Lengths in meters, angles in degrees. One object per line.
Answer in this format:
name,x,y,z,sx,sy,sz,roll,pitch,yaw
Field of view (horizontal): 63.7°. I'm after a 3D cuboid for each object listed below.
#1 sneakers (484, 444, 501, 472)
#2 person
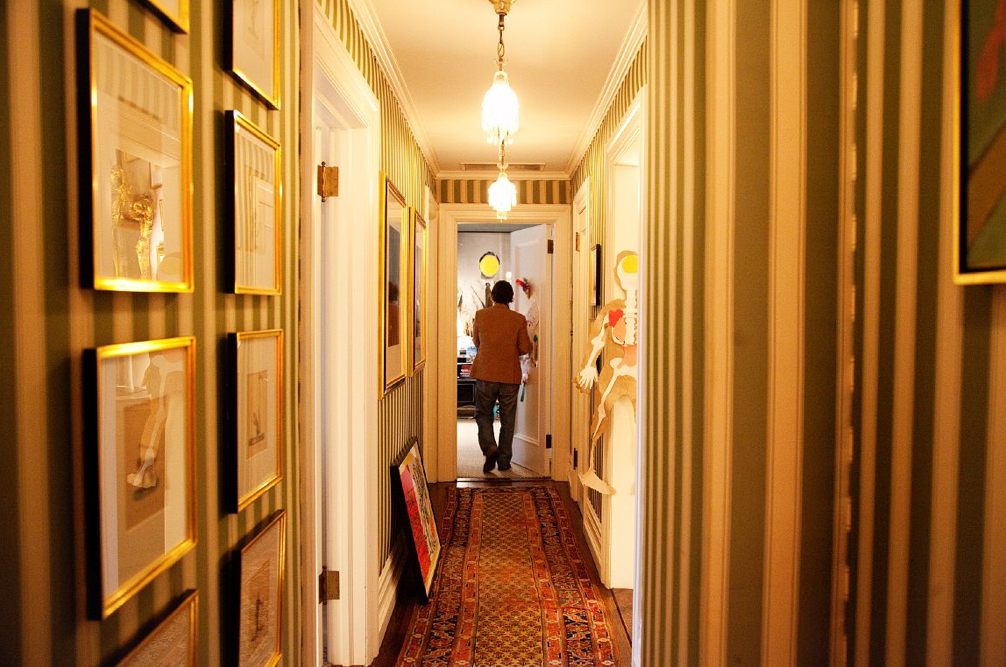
sneakers,-0.086,0.936,5.887,0.076,0.238,0.170,1,31,-11
person,-0.014,0.322,5.806,0.420,1.382,0.426,-1,2,-3
